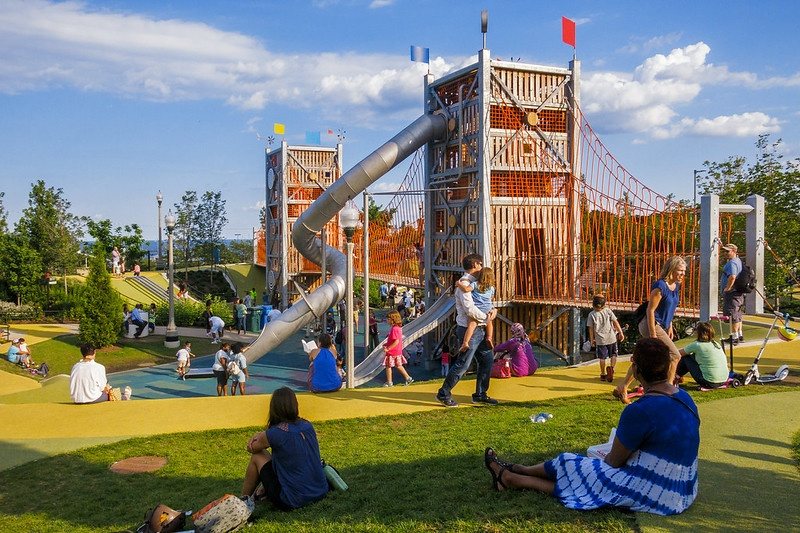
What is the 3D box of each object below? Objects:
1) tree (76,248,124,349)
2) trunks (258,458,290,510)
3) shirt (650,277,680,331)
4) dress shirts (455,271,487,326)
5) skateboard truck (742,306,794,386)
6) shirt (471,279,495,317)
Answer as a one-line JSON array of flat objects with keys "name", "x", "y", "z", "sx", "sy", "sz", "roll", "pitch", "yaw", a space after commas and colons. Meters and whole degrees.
[{"name": "tree", "x": -9.951, "y": 0.987, "z": 27.504, "sx": 1.363, "sy": 3.185, "sz": 1.235, "roll": -6, "pitch": 17, "yaw": -41}, {"name": "trunks", "x": -2.082, "y": 3.617, "z": 13.980, "sx": 0.438, "sy": 0.848, "sz": 0.318, "roll": -12, "pitch": 1, "yaw": 15}, {"name": "shirt", "x": 5.056, "y": 0.702, "z": 15.895, "sx": 0.513, "sy": 1.137, "sz": 1.105, "roll": 2, "pitch": 3, "yaw": 32}, {"name": "dress shirts", "x": 1.442, "y": 0.663, "z": 16.785, "sx": 0.650, "sy": 1.015, "sz": 0.346, "roll": -1, "pitch": -2, "yaw": 39}, {"name": "skateboard truck", "x": 8.319, "y": 1.566, "z": 18.371, "sx": 0.803, "sy": 1.344, "sz": 4.291, "roll": 4, "pitch": 16, "yaw": 29}, {"name": "shirt", "x": 1.638, "y": 0.631, "z": 16.720, "sx": 0.573, "sy": 0.669, "sz": 0.339, "roll": 10, "pitch": -17, "yaw": -35}]
